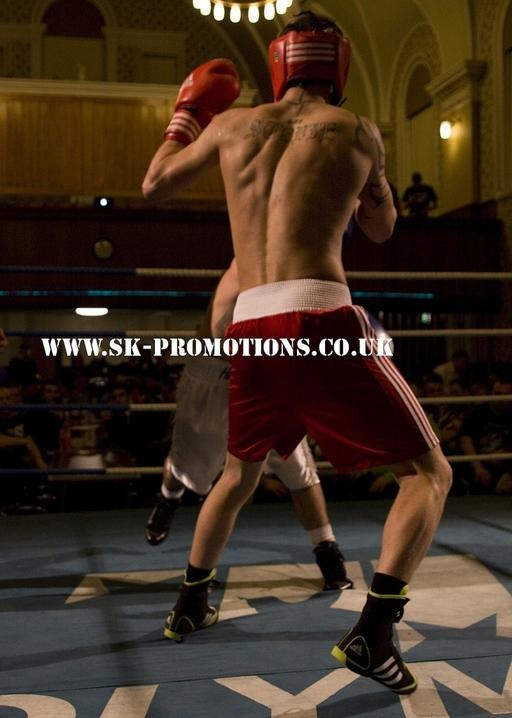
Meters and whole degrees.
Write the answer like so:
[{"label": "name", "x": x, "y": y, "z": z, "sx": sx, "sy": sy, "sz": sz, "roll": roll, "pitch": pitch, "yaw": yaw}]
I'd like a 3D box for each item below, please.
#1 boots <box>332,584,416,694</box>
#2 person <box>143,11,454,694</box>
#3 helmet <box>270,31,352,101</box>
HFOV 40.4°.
[{"label": "boots", "x": 0.222, "y": 0.479, "z": 1.180, "sx": 0.173, "sy": 0.158, "sz": 0.068, "roll": 38, "pitch": -28, "yaw": -19}, {"label": "person", "x": 0.083, "y": -0.060, "z": 1.402, "sx": 0.607, "sy": 1.301, "sz": 0.326, "roll": -1, "pitch": -1, "yaw": 44}, {"label": "helmet", "x": 0.108, "y": -0.592, "z": 1.428, "sx": 0.141, "sy": 0.086, "sz": 0.151, "roll": 0, "pitch": -2, "yaw": -1}]
